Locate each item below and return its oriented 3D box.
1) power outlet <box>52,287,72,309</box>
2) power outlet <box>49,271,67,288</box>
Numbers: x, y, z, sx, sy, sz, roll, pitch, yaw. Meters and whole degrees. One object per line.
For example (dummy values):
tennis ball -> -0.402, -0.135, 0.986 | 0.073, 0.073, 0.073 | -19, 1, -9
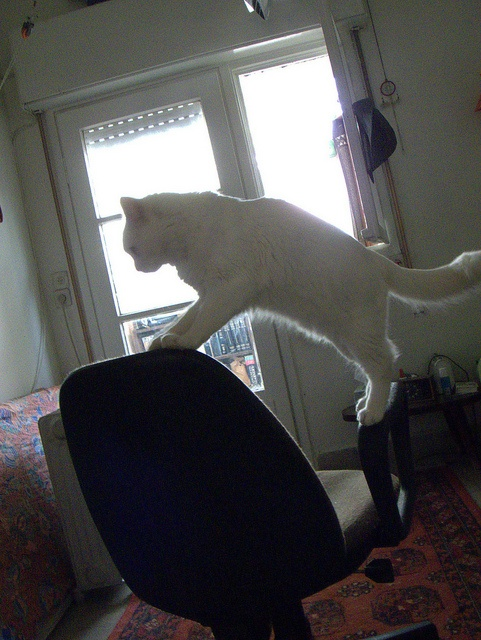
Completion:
power outlet -> -0.786, -0.099, 2.363 | 0.082, 0.084, 0.018 | 0, 8, 10
power outlet -> -0.800, -0.174, 2.371 | 0.085, 0.079, 0.016 | 1, 8, 15
